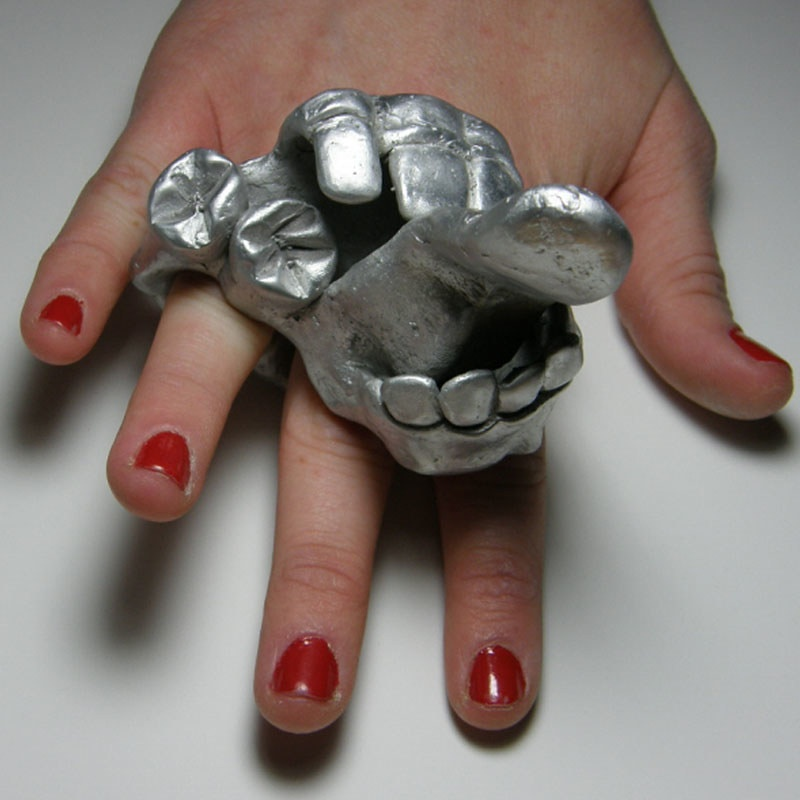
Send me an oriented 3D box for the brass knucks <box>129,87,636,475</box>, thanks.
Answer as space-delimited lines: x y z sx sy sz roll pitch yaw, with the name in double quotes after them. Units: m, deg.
-0.031 -0.088 0.718 0.240 0.186 0.382 -16 36 -30 "brass knucks"
